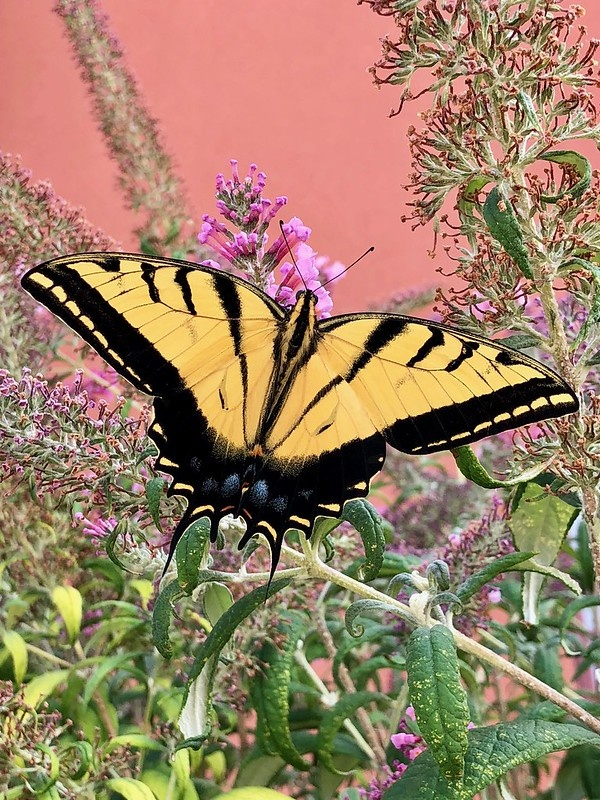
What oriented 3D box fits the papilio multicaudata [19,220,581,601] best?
[{"bbox_3d":[-0.073,-0.020,1.578,1.174,0.213,0.600,-5,-44,-10],"label":"papilio multicaudata"}]
